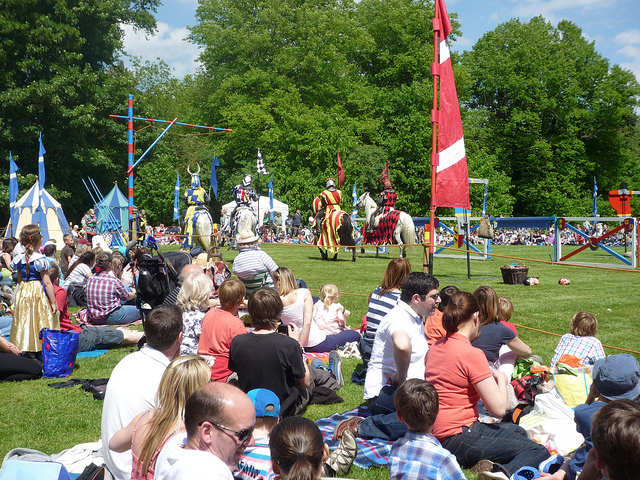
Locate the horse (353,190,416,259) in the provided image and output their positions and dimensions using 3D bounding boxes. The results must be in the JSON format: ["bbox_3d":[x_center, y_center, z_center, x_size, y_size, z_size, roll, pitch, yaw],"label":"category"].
[{"bbox_3d":[2.432,-0.575,30.460,1.089,2.428,3.286,-3,6,-40],"label":"horse"}]

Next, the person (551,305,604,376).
[{"bbox_3d":[4.859,1.937,15.632,1.008,1.121,0.649,1,-1,-32],"label":"person"}]

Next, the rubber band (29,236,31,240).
[{"bbox_3d":[-6.203,-0.063,17.300,0.046,0.053,0.047,-6,6,-43],"label":"rubber band"}]

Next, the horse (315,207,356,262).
[{"bbox_3d":[0.357,-0.322,30.884,0.954,2.087,3.030,-2,2,-30],"label":"horse"}]

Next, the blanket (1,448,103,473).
[{"bbox_3d":[-4.845,3.667,13.977,1.010,0.377,0.784,1,-2,-9],"label":"blanket"}]

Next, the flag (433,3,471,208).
[{"bbox_3d":[3.204,-3.277,19.983,0.771,4.889,1.048,0,-1,11],"label":"flag"}]

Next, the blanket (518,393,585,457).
[{"bbox_3d":[4.203,3.330,14.762,0.957,0.998,0.303,25,-25,32],"label":"blanket"}]

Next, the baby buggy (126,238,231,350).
[{"bbox_3d":[-3.531,0.941,17.812,1.070,1.566,0.624,0,-1,-9],"label":"baby buggy"}]

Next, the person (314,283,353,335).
[{"bbox_3d":[0.251,1.618,18.414,1.010,1.259,1.047,5,2,19],"label":"person"}]

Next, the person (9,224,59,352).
[{"bbox_3d":[-6.119,1.065,17.412,1.080,2.821,0.953,5,9,22],"label":"person"}]

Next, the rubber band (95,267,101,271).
[{"bbox_3d":[-5.506,0.701,20.078,0.156,0.101,0.153,0,-3,15],"label":"rubber band"}]

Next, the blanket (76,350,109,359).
[{"bbox_3d":[-5.046,2.481,17.822,0.798,0.091,0.833,-1,4,-3],"label":"blanket"}]

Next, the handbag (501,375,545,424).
[{"bbox_3d":[3.743,2.976,15.050,0.471,0.672,0.641,21,32,37],"label":"handbag"}]

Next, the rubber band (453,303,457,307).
[{"bbox_3d":[2.382,1.141,14.382,0.044,0.053,0.029,0,-1,4],"label":"rubber band"}]

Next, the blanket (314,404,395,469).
[{"bbox_3d":[0.730,3.676,14.624,0.995,1.048,0.157,-7,-40,-21],"label":"blanket"}]

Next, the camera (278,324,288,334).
[{"bbox_3d":[-0.751,1.741,16.093,0.191,0.191,0.135,3,5,5],"label":"camera"}]

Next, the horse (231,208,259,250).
[{"bbox_3d":[-2.599,-0.415,27.508,0.736,1.355,2.495,-3,3,-13],"label":"horse"}]

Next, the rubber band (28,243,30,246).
[{"bbox_3d":[-6.212,0.083,17.265,0.040,0.045,0.047,10,5,-9],"label":"rubber band"}]

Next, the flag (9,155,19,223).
[{"bbox_3d":[-11.798,-2.052,31.124,0.183,2.353,2.651,1,-1,-20],"label":"flag"}]

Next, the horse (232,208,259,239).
[{"bbox_3d":[-2.527,-0.575,26.977,0.816,1.014,1.330,0,-1,-7],"label":"horse"}]

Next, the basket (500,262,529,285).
[{"bbox_3d":[5.765,0.974,24.197,0.627,0.435,0.635,0,-3,19],"label":"basket"}]
